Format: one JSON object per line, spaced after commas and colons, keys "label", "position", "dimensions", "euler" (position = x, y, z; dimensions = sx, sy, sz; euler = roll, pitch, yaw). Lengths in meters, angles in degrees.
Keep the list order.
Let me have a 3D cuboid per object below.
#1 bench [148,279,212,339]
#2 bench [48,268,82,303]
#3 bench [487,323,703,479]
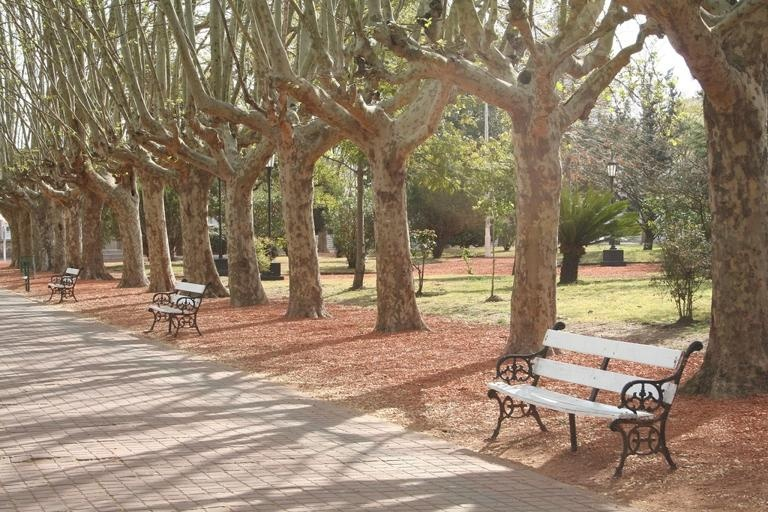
{"label": "bench", "position": [-5.529, 1.428, 17.548], "dimensions": [0.866, 1.054, 1.822], "euler": [-5, 6, -35]}
{"label": "bench", "position": [-13.441, 1.284, 27.440], "dimensions": [0.779, 1.245, 1.978], "euler": [9, 21, -4]}
{"label": "bench", "position": [2.589, 1.671, 8.462], "dimensions": [2.175, 1.561, 2.726], "euler": [-1, 0, 4]}
